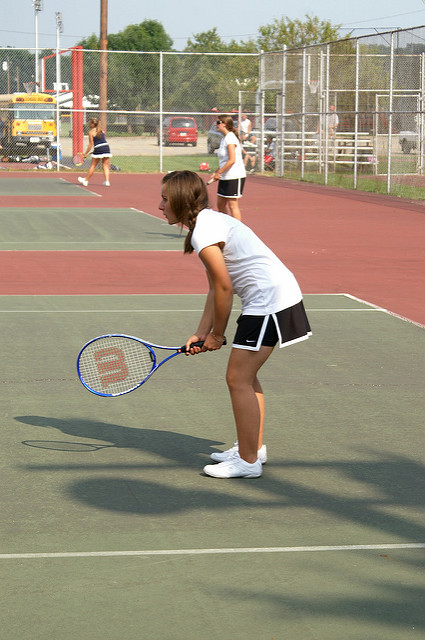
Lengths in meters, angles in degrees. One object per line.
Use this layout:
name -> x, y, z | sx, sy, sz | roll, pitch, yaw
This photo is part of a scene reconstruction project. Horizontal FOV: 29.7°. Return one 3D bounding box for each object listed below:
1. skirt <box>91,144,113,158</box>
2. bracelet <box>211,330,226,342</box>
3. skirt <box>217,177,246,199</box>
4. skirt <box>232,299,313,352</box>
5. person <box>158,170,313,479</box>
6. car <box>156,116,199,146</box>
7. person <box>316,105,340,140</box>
skirt -> -3.454, -5.303, 25.213 | 0.629, 0.385, 0.433 | -10, 27, 5
bracelet -> 0.028, 0.073, 3.662 | 0.063, 0.050, 0.115 | 1, 8, 0
skirt -> 0.313, -2.263, 13.744 | 0.375, 0.345, 0.542 | 10, 15, 21
skirt -> 0.273, 0.003, 3.681 | 0.429, 0.204, 0.226 | -12, 25, -28
person -> 0.086, 0.053, 3.695 | 0.667, 1.439, 0.491 | -8, 12, -44
car -> -1.642, -9.745, 42.879 | 2.660, 1.797, 4.019 | -2, 19, -8
person -> 4.192, -7.172, 28.930 | 0.863, 1.220, 2.506 | 2, 8, 7
